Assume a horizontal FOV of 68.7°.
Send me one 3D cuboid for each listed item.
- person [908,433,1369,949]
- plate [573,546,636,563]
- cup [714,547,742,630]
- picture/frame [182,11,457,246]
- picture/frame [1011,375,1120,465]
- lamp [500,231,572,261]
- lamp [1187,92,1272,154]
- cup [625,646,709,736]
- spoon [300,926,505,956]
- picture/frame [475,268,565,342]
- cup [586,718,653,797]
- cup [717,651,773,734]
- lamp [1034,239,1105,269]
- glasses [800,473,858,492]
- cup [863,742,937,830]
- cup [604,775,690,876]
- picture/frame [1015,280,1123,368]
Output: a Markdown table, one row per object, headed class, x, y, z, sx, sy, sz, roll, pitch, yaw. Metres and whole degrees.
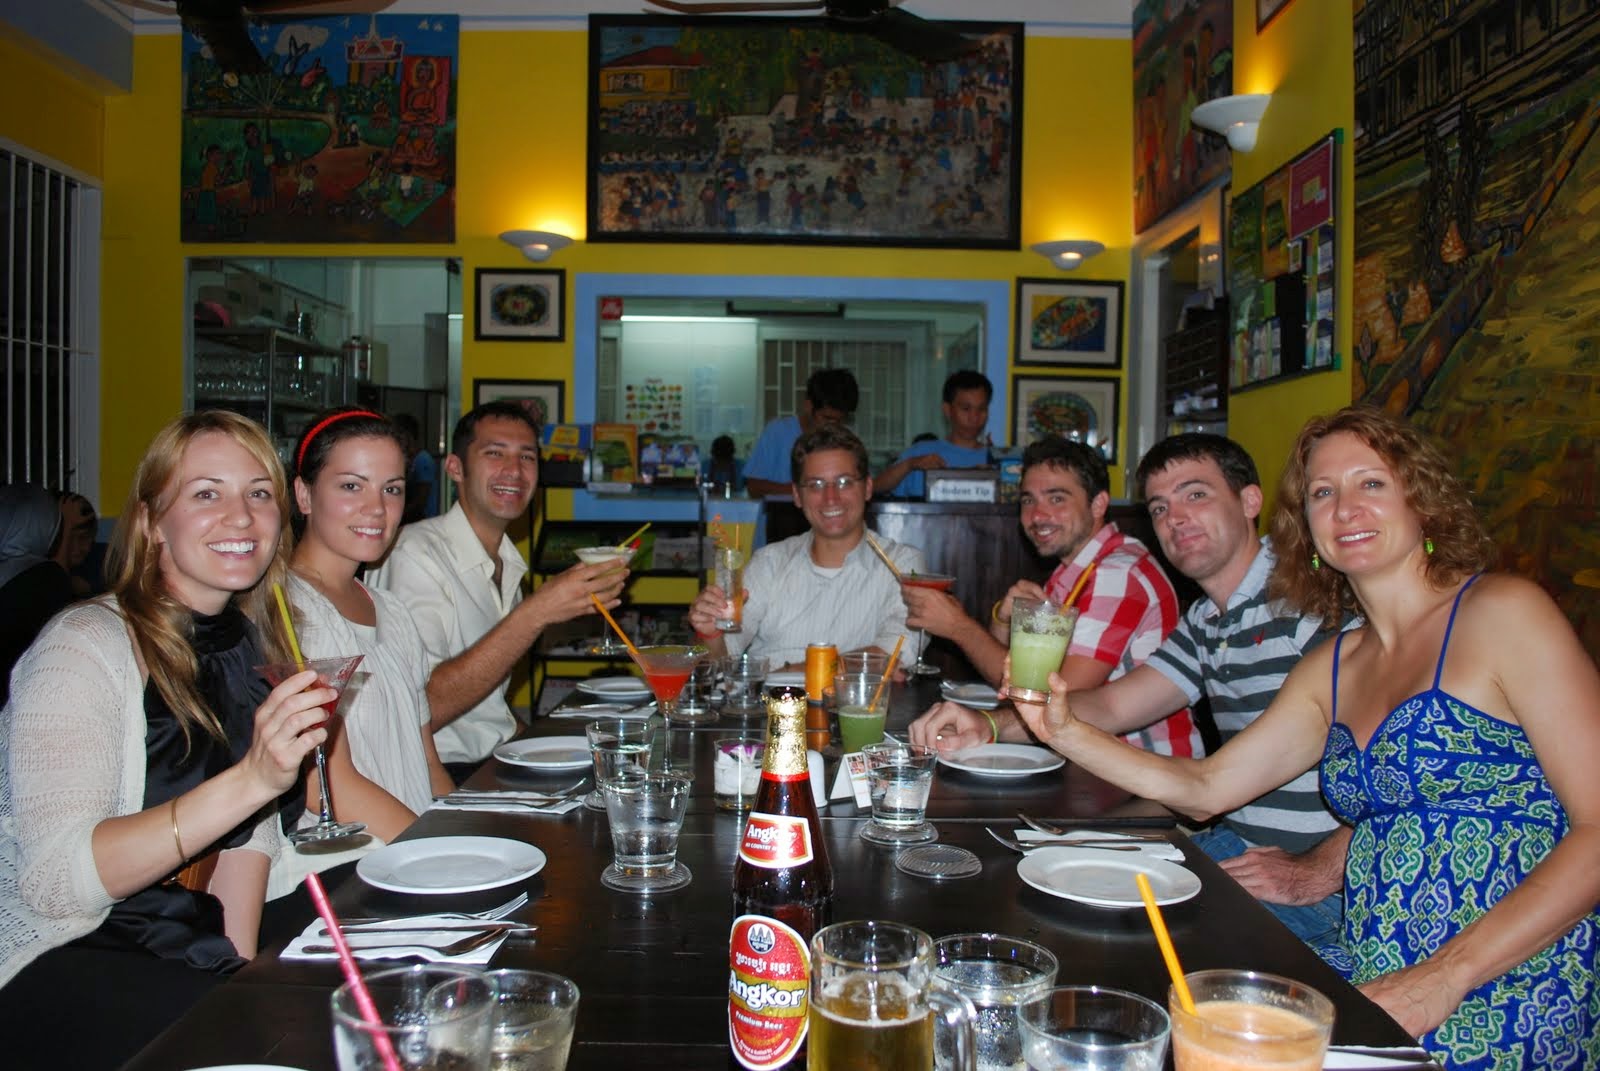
| class | x | y | z | sx | sy | sz | roll | pitch | yaw |
| --- | --- | --- | --- | --- | --- | --- | --- | --- | --- |
| person | 0.788 | 0.371 | 3.942 | 1.296 | 1.280 | 0.781 | -1 | 1 | 40 |
| plate | -0.591 | 0.063 | 3.476 | 0.151 | 0.049 | 0.197 | 2 | 4 | 2 |
| cup | -0.234 | 0.177 | 3.785 | 0.085 | 0.256 | 0.177 | 2 | 5 | -4 |
| picture/frame | -3.047 | -2.637 | 7.474 | 1.519 | 1.218 | 0.069 | 0 | 4 | 1 |
| picture/frame | 1.588 | -0.715 | 7.046 | 0.863 | 0.705 | 0.059 | 1 | -4 | -3 |
| lamp | -1.708 | -1.858 | 7.563 | 0.400 | 0.159 | 0.278 | 3 | 4 | 6 |
| lamp | 2.101 | -2.013 | 5.709 | 0.288 | 0.130 | 0.291 | 0 | 0 | 33 |
| cup | -0.343 | 0.442 | 3.327 | 0.219 | 0.267 | 0.226 | 0 | -2 | 0 |
| spoon | -0.706 | 0.757 | 2.192 | 0.290 | 0.029 | 0.064 | 2 | 4 | -5 |
| picture/frame | -1.863 | -1.520 | 7.676 | 0.481 | 0.398 | 0.023 | 2 | 12 | -5 |
| cup | -0.413 | 0.519 | 2.742 | 0.167 | 0.184 | 0.175 | 0 | -5 | 0 |
| cup | -0.151 | 0.477 | 3.544 | 0.167 | 0.183 | 0.172 | 1 | -7 | 0 |
| lamp | 1.737 | -1.821 | 7.587 | 0.464 | 0.171 | 0.332 | 3 | 4 | 8 |
| glasses | 0.107 | -0.190 | 4.369 | 0.193 | 0.070 | 0.037 | 2 | 5 | -1 |
| cup | 0.219 | 0.564 | 2.615 | 0.165 | 0.178 | 0.170 | 1 | -6 | 0 |
| cup | -0.307 | 0.620 | 2.498 | 0.200 | 0.188 | 0.191 | 0 | -5 | 0 |
| picture/frame | 1.751 | -1.413 | 7.731 | 0.559 | 0.456 | 0.041 | 2 | -3 | -5 |
